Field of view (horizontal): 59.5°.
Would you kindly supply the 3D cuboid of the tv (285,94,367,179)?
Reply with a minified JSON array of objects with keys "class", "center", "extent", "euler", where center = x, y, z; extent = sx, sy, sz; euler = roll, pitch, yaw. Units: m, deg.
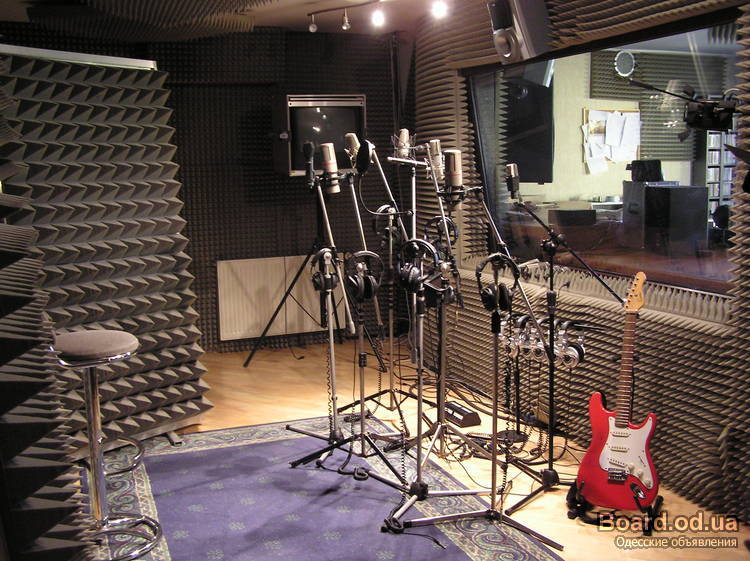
[{"class":"tv","center":[-0.554,-1.440,6.539],"extent":[1.004,0.761,0.268],"euler":[-2,15,-27]}]

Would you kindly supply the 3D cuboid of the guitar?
[{"class":"guitar","center":[1.409,0.692,4.067],"extent":[0.512,1.436,0.539],"euler":[4,10,11]}]

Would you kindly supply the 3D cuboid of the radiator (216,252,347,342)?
[{"class":"radiator","center":[-1.109,0.153,7.167],"extent":[1.468,0.933,0.031],"euler":[-6,25,-28]}]
